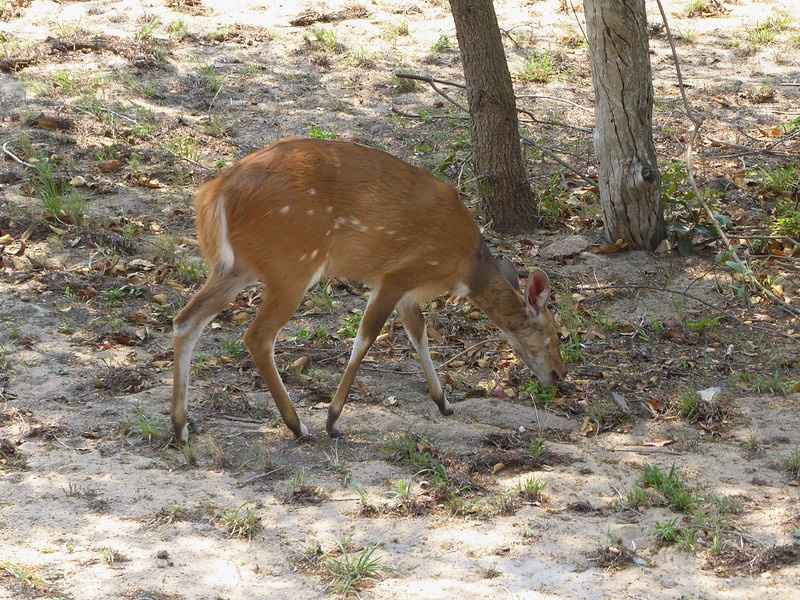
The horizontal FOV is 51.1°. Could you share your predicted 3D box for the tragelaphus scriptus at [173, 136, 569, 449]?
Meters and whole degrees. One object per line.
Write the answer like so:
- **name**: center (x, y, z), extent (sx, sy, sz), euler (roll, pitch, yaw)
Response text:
- **tragelaphus scriptus**: center (-0.193, -0.060, 6.498), extent (3.361, 1.892, 0.813), euler (-1, -7, -34)
